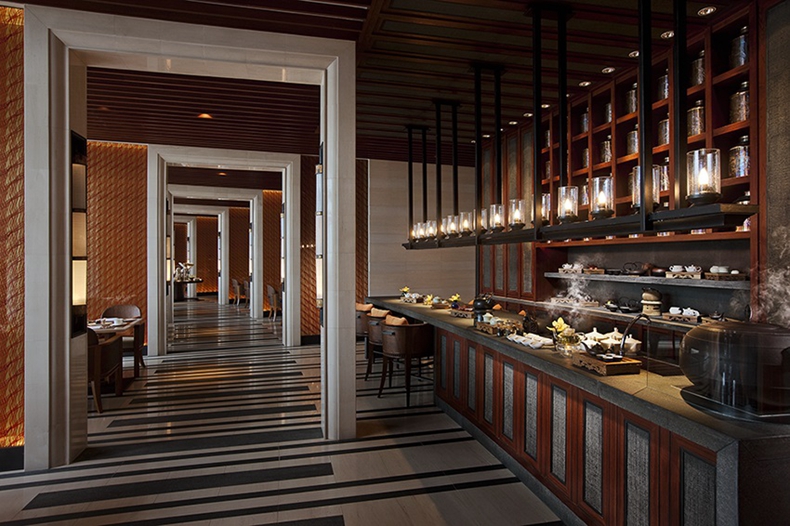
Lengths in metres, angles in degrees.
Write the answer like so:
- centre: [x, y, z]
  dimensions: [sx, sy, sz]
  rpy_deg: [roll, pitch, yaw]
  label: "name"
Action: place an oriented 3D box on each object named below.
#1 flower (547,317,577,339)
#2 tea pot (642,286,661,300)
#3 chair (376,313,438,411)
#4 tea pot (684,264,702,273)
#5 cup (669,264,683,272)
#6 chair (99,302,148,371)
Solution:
- centre: [1.595, 0.635, 5.357]
  dimensions: [0.260, 0.096, 0.251]
  rpy_deg: [-1, 1, -24]
  label: "flower"
- centre: [3.289, 0.386, 7.196]
  dimensions: [0.197, 0.139, 0.346]
  rpy_deg: [1, 2, 23]
  label: "tea pot"
- centre: [0.212, 1.331, 7.838]
  dimensions: [0.873, 1.067, 0.787]
  rpy_deg: [3, -6, -25]
  label: "chair"
- centre: [3.496, 0.062, 6.606]
  dimensions: [0.108, 0.054, 0.133]
  rpy_deg: [0, 4, -7]
  label: "tea pot"
- centre: [3.401, 0.065, 6.825]
  dimensions: [0.102, 0.072, 0.131]
  rpy_deg: [1, -4, -29]
  label: "cup"
- centre: [-4.390, 1.163, 8.939]
  dimensions: [0.770, 0.959, 0.759]
  rpy_deg: [-1, -1, -21]
  label: "chair"
